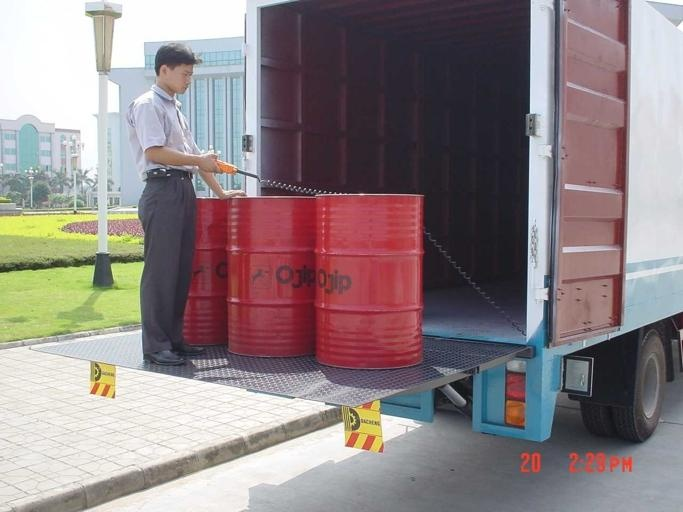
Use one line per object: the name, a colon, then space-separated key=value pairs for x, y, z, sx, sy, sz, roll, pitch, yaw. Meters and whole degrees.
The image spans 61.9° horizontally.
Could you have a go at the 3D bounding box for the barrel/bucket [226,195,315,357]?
barrel/bucket: x=-0.526 y=0.140 z=4.046 sx=0.686 sy=1.074 sz=0.692 roll=1 pitch=-2 yaw=0

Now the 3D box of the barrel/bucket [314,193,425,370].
barrel/bucket: x=0.189 y=0.145 z=3.724 sx=0.696 sy=1.062 sz=0.692 roll=0 pitch=1 yaw=0

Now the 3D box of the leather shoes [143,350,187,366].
leather shoes: x=-1.124 y=0.623 z=3.656 sx=0.262 sy=0.079 sz=0.104 roll=1 pitch=3 yaw=37

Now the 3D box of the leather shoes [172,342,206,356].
leather shoes: x=-1.059 y=0.619 z=3.920 sx=0.177 sy=0.071 sz=0.092 roll=3 pitch=7 yaw=12

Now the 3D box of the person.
person: x=-1.139 y=-0.405 z=3.898 sx=0.622 sy=2.119 sz=0.662 roll=4 pitch=5 yaw=30
